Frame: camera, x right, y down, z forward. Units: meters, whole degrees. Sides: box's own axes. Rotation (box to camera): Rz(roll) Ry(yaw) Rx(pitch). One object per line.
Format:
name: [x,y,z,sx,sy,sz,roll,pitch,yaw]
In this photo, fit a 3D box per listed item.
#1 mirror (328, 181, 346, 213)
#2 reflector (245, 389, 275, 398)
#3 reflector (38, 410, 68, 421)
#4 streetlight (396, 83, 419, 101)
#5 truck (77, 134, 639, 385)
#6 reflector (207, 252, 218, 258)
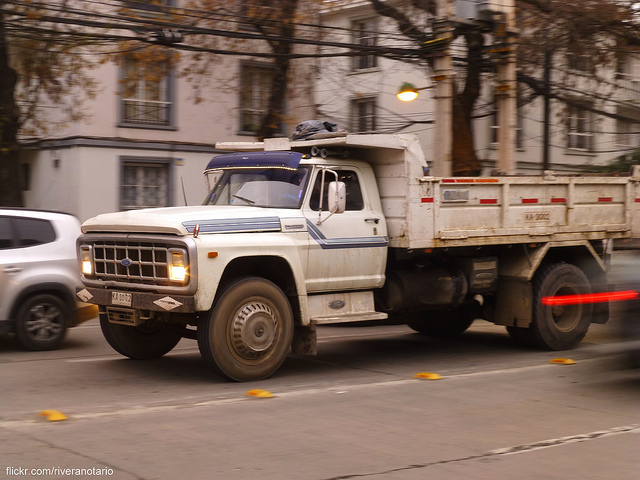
mirror: [0.242,-0.589,10.436,0.265,0.432,0.206,-1,4,-12]
reflector: [-0.737,1.875,9.284,0.350,0.057,0.217,2,3,43]
reflector: [-2.877,1.883,8.161,0.195,0.036,0.125,7,2,30]
streetlight: [1.637,-2.756,14.173,0.398,0.172,0.366,-2,0,1]
truck: [0.746,0.142,11.376,7.722,3.396,1.855,-2,4,-25]
reflector: [-1.324,0.186,9.440,0.146,0.046,0.068,1,-6,-29]
